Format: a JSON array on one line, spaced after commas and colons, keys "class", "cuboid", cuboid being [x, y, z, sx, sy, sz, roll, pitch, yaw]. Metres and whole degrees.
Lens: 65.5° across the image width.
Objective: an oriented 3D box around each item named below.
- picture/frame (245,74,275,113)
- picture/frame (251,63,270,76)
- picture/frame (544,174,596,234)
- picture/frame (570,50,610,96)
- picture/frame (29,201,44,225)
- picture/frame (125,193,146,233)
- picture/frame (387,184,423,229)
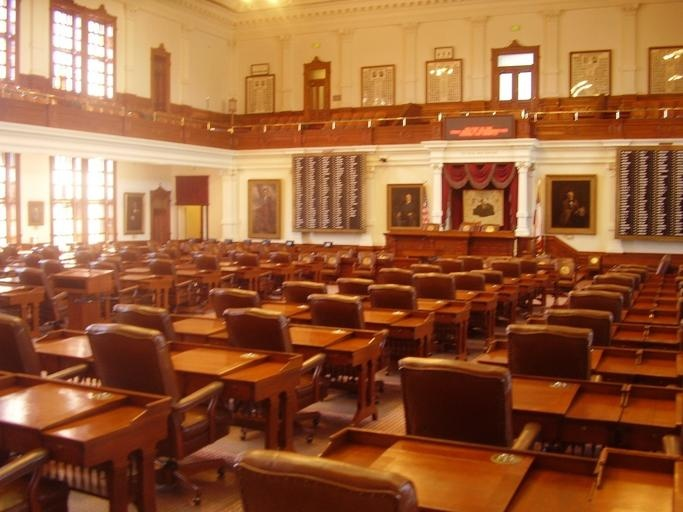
[{"class": "picture/frame", "cuboid": [-3.401, -6.956, 22.652, 1.917, 2.031, 0.111, 3, 5, 26]}, {"class": "picture/frame", "cuboid": [-3.417, -7.966, 22.677, 0.693, 0.361, 0.033, 5, 11, 26]}, {"class": "picture/frame", "cuboid": [7.191, -1.692, 16.606, 1.938, 2.118, 0.225, 3, 9, 27]}, {"class": "picture/frame", "cuboid": [8.778, -6.471, 18.739, 1.327, 1.587, 0.133, 0, 6, 21]}, {"class": "picture/frame", "cuboid": [-9.740, -1.338, 16.952, 0.114, 0.809, 0.547, 0, 6, 20]}, {"class": "picture/frame", "cuboid": [-7.847, -1.604, 20.175, 0.165, 1.570, 1.060, 0, 6, 18]}, {"class": "picture/frame", "cuboid": [2.228, -1.743, 18.198, 1.697, 1.737, 0.137, 3, 7, 25]}]
